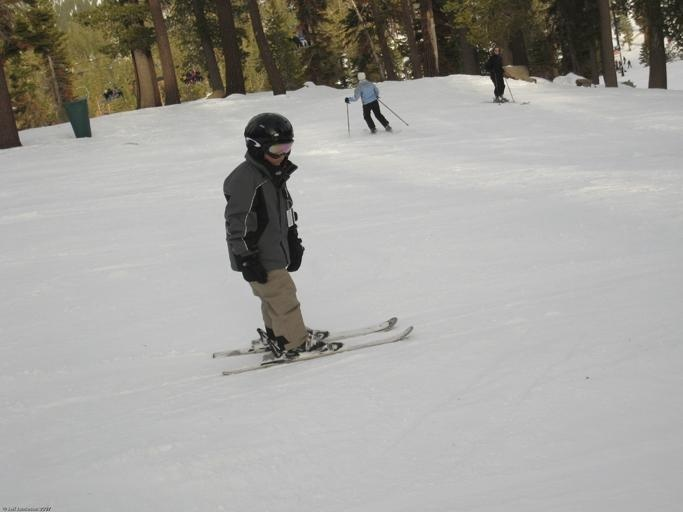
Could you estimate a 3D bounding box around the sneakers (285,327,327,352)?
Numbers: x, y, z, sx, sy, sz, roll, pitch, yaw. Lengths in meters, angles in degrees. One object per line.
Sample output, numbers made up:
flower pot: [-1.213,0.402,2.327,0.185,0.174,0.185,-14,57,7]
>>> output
sneakers: [-0.272,0.785,7.173,0.469,0.167,0.145,-10,13,-26]

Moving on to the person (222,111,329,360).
person: [-0.669,-0.169,6.923,0.746,2.223,0.486,-11,8,-7]

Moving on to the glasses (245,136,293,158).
glasses: [-0.649,-0.941,6.758,0.309,0.107,0.231,-7,23,9]

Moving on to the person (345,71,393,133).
person: [0.602,-3.390,16.860,0.795,1.369,1.275,-8,8,4]

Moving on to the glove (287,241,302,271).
glove: [-0.426,-0.003,7.168,0.119,0.241,0.195,8,13,-21]

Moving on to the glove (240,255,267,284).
glove: [-0.779,0.117,6.769,0.246,0.238,0.098,-3,8,-5]
